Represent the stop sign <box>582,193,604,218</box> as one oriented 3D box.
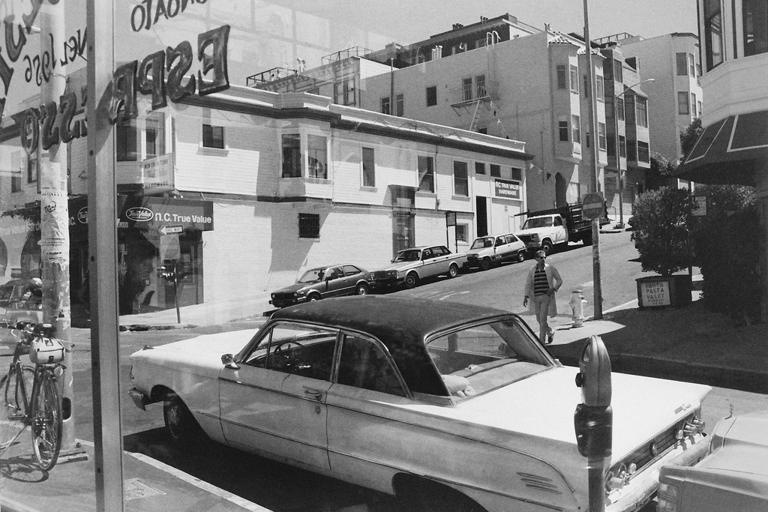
[{"bbox_3d":[2.072,-0.500,8.248,0.258,0.301,0.042,0,-7,15],"label":"stop sign"}]
